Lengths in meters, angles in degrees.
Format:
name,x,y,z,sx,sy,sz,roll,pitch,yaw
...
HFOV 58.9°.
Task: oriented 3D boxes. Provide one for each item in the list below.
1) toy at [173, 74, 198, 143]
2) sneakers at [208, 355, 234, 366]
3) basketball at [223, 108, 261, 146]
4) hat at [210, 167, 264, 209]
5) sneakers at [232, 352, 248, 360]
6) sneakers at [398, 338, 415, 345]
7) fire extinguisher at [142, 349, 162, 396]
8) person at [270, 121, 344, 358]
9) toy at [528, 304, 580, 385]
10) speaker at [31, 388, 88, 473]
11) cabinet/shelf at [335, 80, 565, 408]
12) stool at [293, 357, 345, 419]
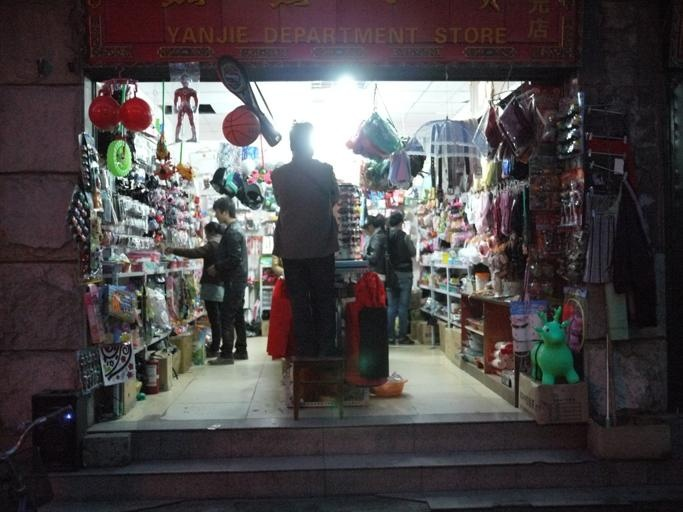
name,x,y,z,sx,sy,sz,roll,pitch,yaw
toy,-1.392,-1.290,5.450,0.206,0.494,0.366,-2,2,-17
sneakers,-1.456,1.284,7.400,0.310,0.139,0.119,2,-4,-2
basketball,-0.854,-1.124,5.310,0.306,0.404,0.318,1,6,30
hat,-1.351,-0.925,8.110,0.672,0.459,0.328,30,36,-12
sneakers,-1.244,1.256,7.565,0.138,0.100,0.083,3,-3,-2
sneakers,0.938,1.228,8.712,0.257,0.122,0.092,-1,-3,-7
fire extinguisher,-1.892,1.200,6.120,0.137,0.236,0.243,-1,2,2
person,-0.311,-0.166,5.450,0.592,2.092,0.364,-1,1,-8
toy,1.850,0.767,5.215,0.395,0.618,0.368,-1,2,9
speaker,-2.183,1.368,4.992,0.332,0.681,0.652,1,2,-10
cabinet/shelf,1.385,-0.277,7.903,1.418,2.939,5.307,-1,3,0
stool,-0.188,1.163,5.370,0.453,0.493,0.478,0,-9,-2
